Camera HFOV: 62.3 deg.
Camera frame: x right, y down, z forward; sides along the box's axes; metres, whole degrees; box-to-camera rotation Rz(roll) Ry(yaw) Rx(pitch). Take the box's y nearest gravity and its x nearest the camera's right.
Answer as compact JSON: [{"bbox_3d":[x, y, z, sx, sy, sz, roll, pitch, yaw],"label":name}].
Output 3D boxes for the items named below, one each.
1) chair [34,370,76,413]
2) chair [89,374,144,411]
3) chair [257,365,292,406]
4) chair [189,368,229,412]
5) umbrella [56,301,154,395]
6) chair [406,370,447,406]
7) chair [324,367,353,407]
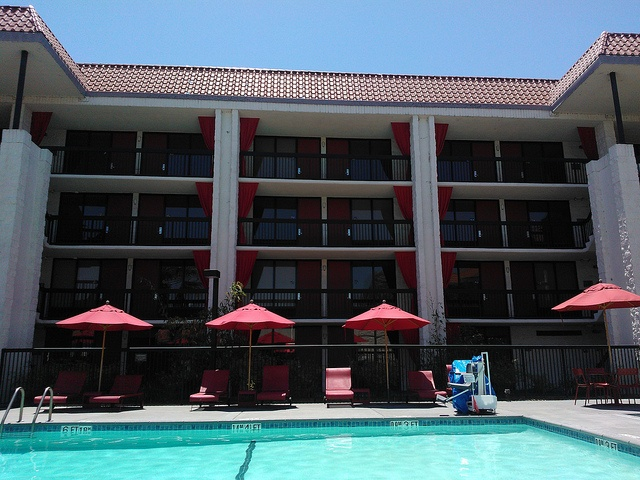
[{"bbox_3d":[-8.539,4.885,17.629,1.069,0.781,1.438,-3,-5,8],"label":"chair"},{"bbox_3d":[-6.737,5.076,17.697,1.208,0.918,1.576,1,-10,10],"label":"chair"},{"bbox_3d":[-1.557,5.046,18.070,1.092,1.338,1.247,-1,3,-4],"label":"chair"},{"bbox_3d":[-3.631,4.990,17.574,0.955,1.084,1.361,-4,-5,9],"label":"chair"},{"bbox_3d":[-8.596,4.262,20.891,3.542,3.271,3.080,0,-23,-5],"label":"umbrella"},{"bbox_3d":[3.457,4.981,17.733,1.240,1.030,1.498,-1,-7,5],"label":"chair"},{"bbox_3d":[0.620,5.002,17.905,1.016,1.139,1.419,2,-8,-7],"label":"chair"}]
